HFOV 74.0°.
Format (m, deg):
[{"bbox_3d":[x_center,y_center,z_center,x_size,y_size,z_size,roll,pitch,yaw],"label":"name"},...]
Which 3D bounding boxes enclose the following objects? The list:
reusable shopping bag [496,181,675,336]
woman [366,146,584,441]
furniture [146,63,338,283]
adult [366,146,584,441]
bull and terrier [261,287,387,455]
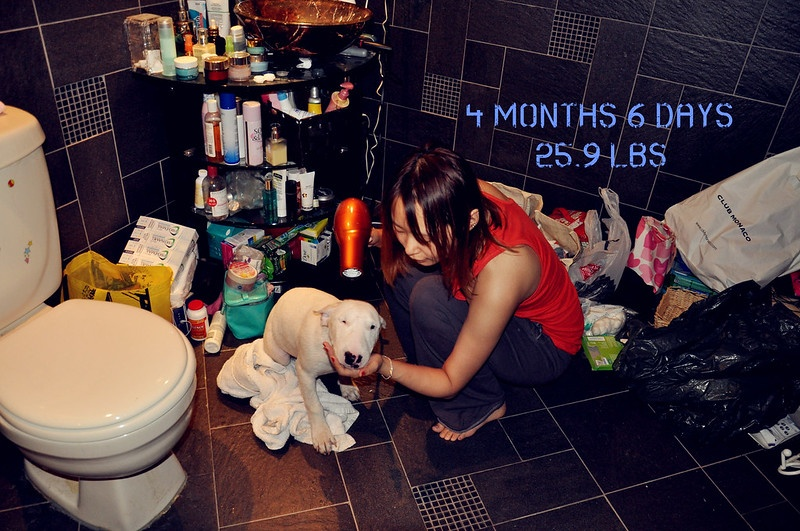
[{"bbox_3d":[1.051,-0.049,3.000,0.787,0.368,0.840,-20,72,4],"label":"reusable shopping bag"},{"bbox_3d":[0.248,0.159,1.987,0.916,1.166,0.465,-16,45,-20],"label":"woman"},{"bbox_3d":[-0.661,-0.494,2.663,0.895,0.811,0.748,-4,40,-8],"label":"furniture"},{"bbox_3d":[0.248,0.159,1.987,0.916,1.166,0.465,-16,45,-20],"label":"adult"},{"bbox_3d":[-0.302,0.318,2.116,0.305,0.642,0.679,-14,39,-34],"label":"bull and terrier"}]
